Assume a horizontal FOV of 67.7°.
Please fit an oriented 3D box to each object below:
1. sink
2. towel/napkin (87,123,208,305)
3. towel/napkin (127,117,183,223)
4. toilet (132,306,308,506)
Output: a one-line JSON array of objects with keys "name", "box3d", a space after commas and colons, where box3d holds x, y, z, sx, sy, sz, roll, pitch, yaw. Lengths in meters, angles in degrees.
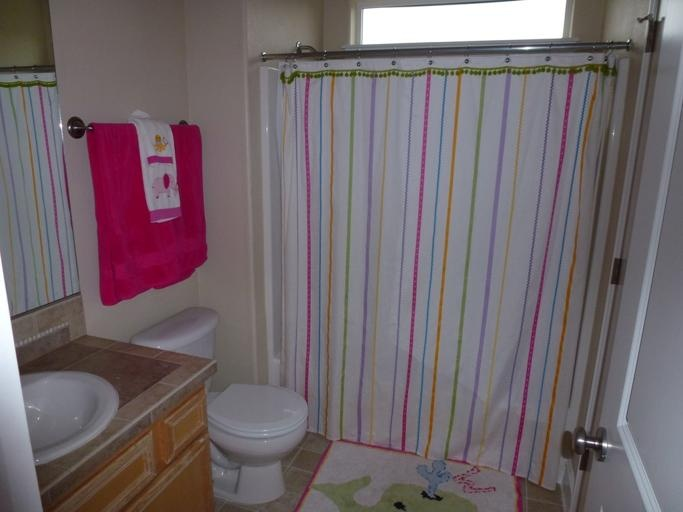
[{"name": "sink", "box3d": [-0.963, 0.524, 1.801, 0.281, 0.095, 0.298, 16, 21, 17]}, {"name": "towel/napkin", "box3d": [-0.895, -0.205, 2.297, 0.097, 0.846, 0.697, 8, 16, 27]}, {"name": "towel/napkin", "box3d": [-0.848, -0.386, 2.321, 0.079, 0.442, 0.236, 2, 8, 25]}, {"name": "toilet", "box3d": [-0.559, 0.693, 2.847, 0.875, 1.058, 0.708, 4, 14, 11]}]
